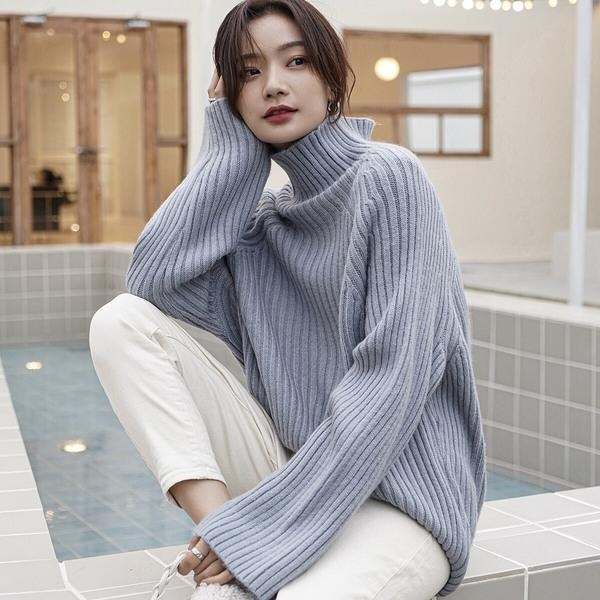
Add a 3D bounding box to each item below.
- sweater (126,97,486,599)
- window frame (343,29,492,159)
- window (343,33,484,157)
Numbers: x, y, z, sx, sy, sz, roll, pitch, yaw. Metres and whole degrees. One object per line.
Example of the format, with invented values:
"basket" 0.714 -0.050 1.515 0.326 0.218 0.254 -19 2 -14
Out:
"sweater" -0.025 0.031 1.198 0.425 0.725 0.552 -5 8 -31
"window frame" 0.700 -1.153 4.628 0.045 0.593 1.022 -27 31 -34
"window" 0.663 -1.122 4.486 1.256 0.669 0.051 -11 17 -38
